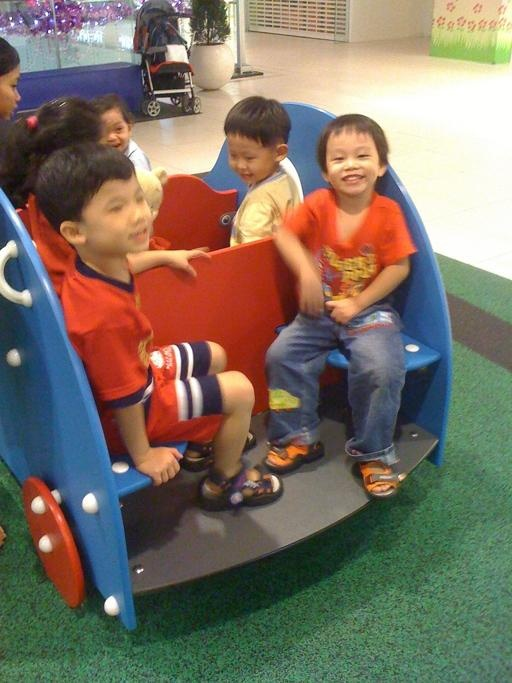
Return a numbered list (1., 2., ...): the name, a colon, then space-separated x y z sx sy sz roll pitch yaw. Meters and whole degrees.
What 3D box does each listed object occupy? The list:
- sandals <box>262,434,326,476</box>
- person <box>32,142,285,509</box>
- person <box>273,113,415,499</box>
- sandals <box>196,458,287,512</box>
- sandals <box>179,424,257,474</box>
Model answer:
1. sandals: 0.083 0.255 1.226 0.126 0.049 0.061 -9 28 -15
2. person: -0.171 0.004 0.998 0.377 0.709 0.373 -18 32 -27
3. person: 0.179 -0.092 1.190 0.325 0.727 0.486 4 28 12
4. sandals: -0.034 0.308 1.152 0.165 0.093 0.077 -10 37 -9
5. sandals: -0.083 0.239 1.296 0.197 0.077 0.063 -20 37 -30
